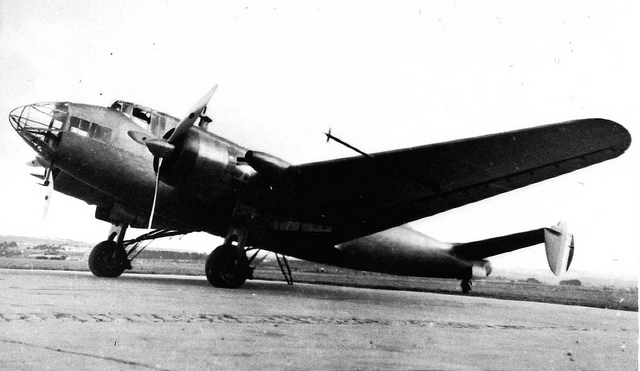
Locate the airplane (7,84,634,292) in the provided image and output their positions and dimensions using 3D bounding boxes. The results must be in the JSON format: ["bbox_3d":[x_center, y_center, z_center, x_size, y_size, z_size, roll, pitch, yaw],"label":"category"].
[{"bbox_3d":[-0.313,0.278,11.251,9.762,3.426,3.894,6,2,8],"label":"airplane"}]

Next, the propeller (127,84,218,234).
[{"bbox_3d":[-2.738,-0.486,10.165,1.001,2.224,1.521,6,2,-35],"label":"propeller"}]
